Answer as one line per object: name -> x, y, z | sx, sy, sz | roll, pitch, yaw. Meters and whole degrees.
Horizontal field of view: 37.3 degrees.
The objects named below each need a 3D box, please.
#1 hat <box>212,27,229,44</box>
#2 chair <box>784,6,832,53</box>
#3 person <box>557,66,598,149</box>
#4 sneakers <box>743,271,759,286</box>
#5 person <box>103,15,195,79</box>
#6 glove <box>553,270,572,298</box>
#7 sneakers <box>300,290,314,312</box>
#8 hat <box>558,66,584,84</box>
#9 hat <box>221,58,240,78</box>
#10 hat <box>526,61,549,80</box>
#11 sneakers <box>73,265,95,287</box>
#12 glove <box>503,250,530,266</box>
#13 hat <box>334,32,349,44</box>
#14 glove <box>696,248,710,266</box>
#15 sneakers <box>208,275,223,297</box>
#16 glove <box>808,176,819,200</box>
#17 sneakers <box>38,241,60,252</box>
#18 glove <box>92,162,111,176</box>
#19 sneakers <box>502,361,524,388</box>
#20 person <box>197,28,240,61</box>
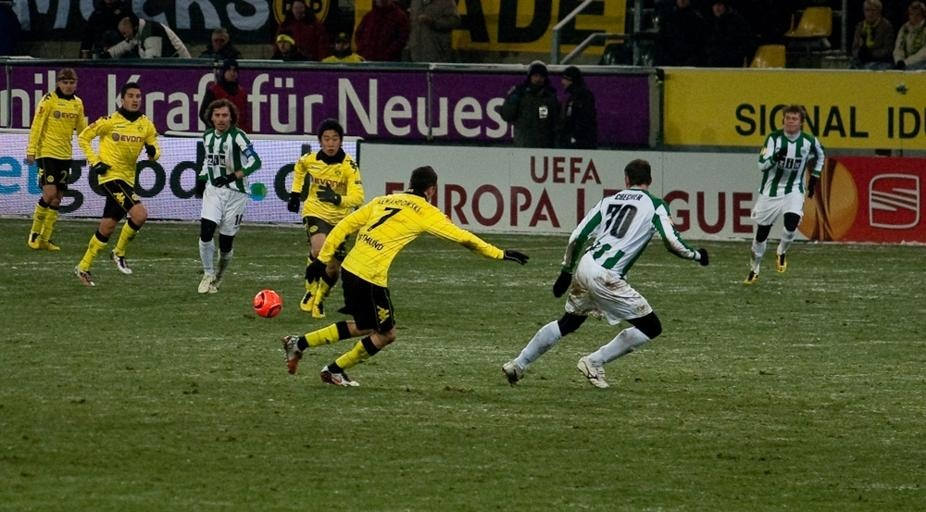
hat -> -5.238, -4.786, 29.507 | 0.442, 0.421, 0.520 | 0, -1, -10
chair -> 8.236, -5.397, 32.466 | 1.095, 1.111, 1.180 | 5, 9, 29
person -> 2.399, -3.040, 28.233 | 0.742, 1.661, 0.628 | 3, 6, 2
sneakers -> 5.236, 0.394, 24.939 | 0.220, 0.252, 0.541 | 4, 6, 13
person -> -7.033, -4.830, 30.913 | 1.992, 1.302, 1.138 | -11, 7, -11
glove -> 1.428, 0.423, 19.939 | 0.261, 0.417, 0.166 | 33, -1, -4
sneakers -> -2.598, 0.758, 22.559 | 0.130, 0.340, 0.147 | 30, -26, -10
hat -> 2.245, -3.714, 28.013 | 0.423, 0.334, 0.308 | 2, 6, -5
hat -> -4.651, -3.666, 27.087 | 0.302, 0.434, 0.529 | 1, 6, -13
hat -> 1.523, -3.804, 28.071 | 0.364, 0.286, 0.369 | 4, 1, -4
sneakers -> -6.650, 0.371, 23.832 | 0.392, 0.180, 0.136 | 48, 19, 3
glove -> 0.746, 0.073, 19.563 | 0.338, 0.095, 0.215 | -3, 29, -32
hat -> -2.654, -4.723, 29.787 | 0.330, 0.156, 0.502 | 1, 9, -1
glove -> 3.640, 0.035, 20.868 | 0.267, 0.147, 0.380 | 15, 15, -3
sneakers -> -4.310, 0.523, 23.641 | 0.140, 0.335, 0.150 | 11, -14, -12
glove -> 6.716, -1.325, 26.283 | 0.149, 0.509, 0.158 | 17, -10, 25
sneakers -> -7.963, -0.171, 26.174 | 0.374, 0.139, 0.180 | 2, 11, 3
glove -> -6.450, -1.511, 23.886 | 0.373, 0.231, 0.294 | 5, 7, 28
sneakers -> 0.706, 1.708, 20.026 | 0.385, 0.289, 0.297 | 33, 13, -9
person -> -5.308, -4.494, 29.491 | 0.977, 0.691, 0.467 | -3, 4, -13
